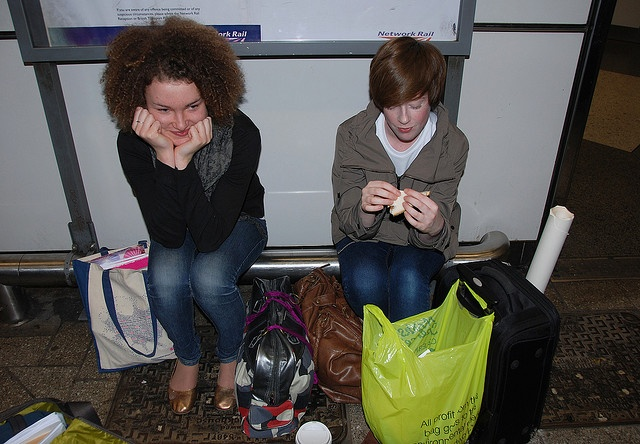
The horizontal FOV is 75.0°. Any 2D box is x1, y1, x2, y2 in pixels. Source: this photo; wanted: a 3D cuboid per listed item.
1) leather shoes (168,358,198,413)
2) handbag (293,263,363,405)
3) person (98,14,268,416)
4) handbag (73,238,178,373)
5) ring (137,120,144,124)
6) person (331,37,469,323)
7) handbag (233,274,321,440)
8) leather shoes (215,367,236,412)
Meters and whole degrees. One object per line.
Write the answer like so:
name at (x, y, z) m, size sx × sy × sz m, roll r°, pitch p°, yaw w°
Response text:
leather shoes at (-0.774, 0.918, 2.367) m, size 0.108 × 0.128 × 0.328 m, roll -2°, pitch 70°, yaw 1°
handbag at (0.051, 0.639, 2.290) m, size 0.287 × 0.529 × 0.563 m, roll -15°, pitch 24°, yaw -1°
person at (-0.641, -0.037, 2.283) m, size 0.729 × 1.856 × 0.927 m, roll -12°, pitch 34°, yaw -24°
handbag at (-1.102, 0.494, 2.379) m, size 0.566 × 0.702 × 0.415 m, roll -13°, pitch 13°, yaw -2°
ring at (-0.902, -0.492, 2.066) m, size 0.035 × 0.014 × 0.016 m, roll 18°, pitch 34°, yaw 23°
person at (0.446, -0.193, 2.205) m, size 0.758 × 1.354 × 0.731 m, roll 3°, pitch 31°, yaw 1°
handbag at (-0.224, 0.872, 2.628) m, size 0.569 × 0.754 × 1.087 m, roll 1°, pitch 59°, yaw -5°
leather shoes at (-0.528, 0.908, 2.311) m, size 0.092 × 0.272 × 0.068 m, roll -2°, pitch 1°, yaw 15°
